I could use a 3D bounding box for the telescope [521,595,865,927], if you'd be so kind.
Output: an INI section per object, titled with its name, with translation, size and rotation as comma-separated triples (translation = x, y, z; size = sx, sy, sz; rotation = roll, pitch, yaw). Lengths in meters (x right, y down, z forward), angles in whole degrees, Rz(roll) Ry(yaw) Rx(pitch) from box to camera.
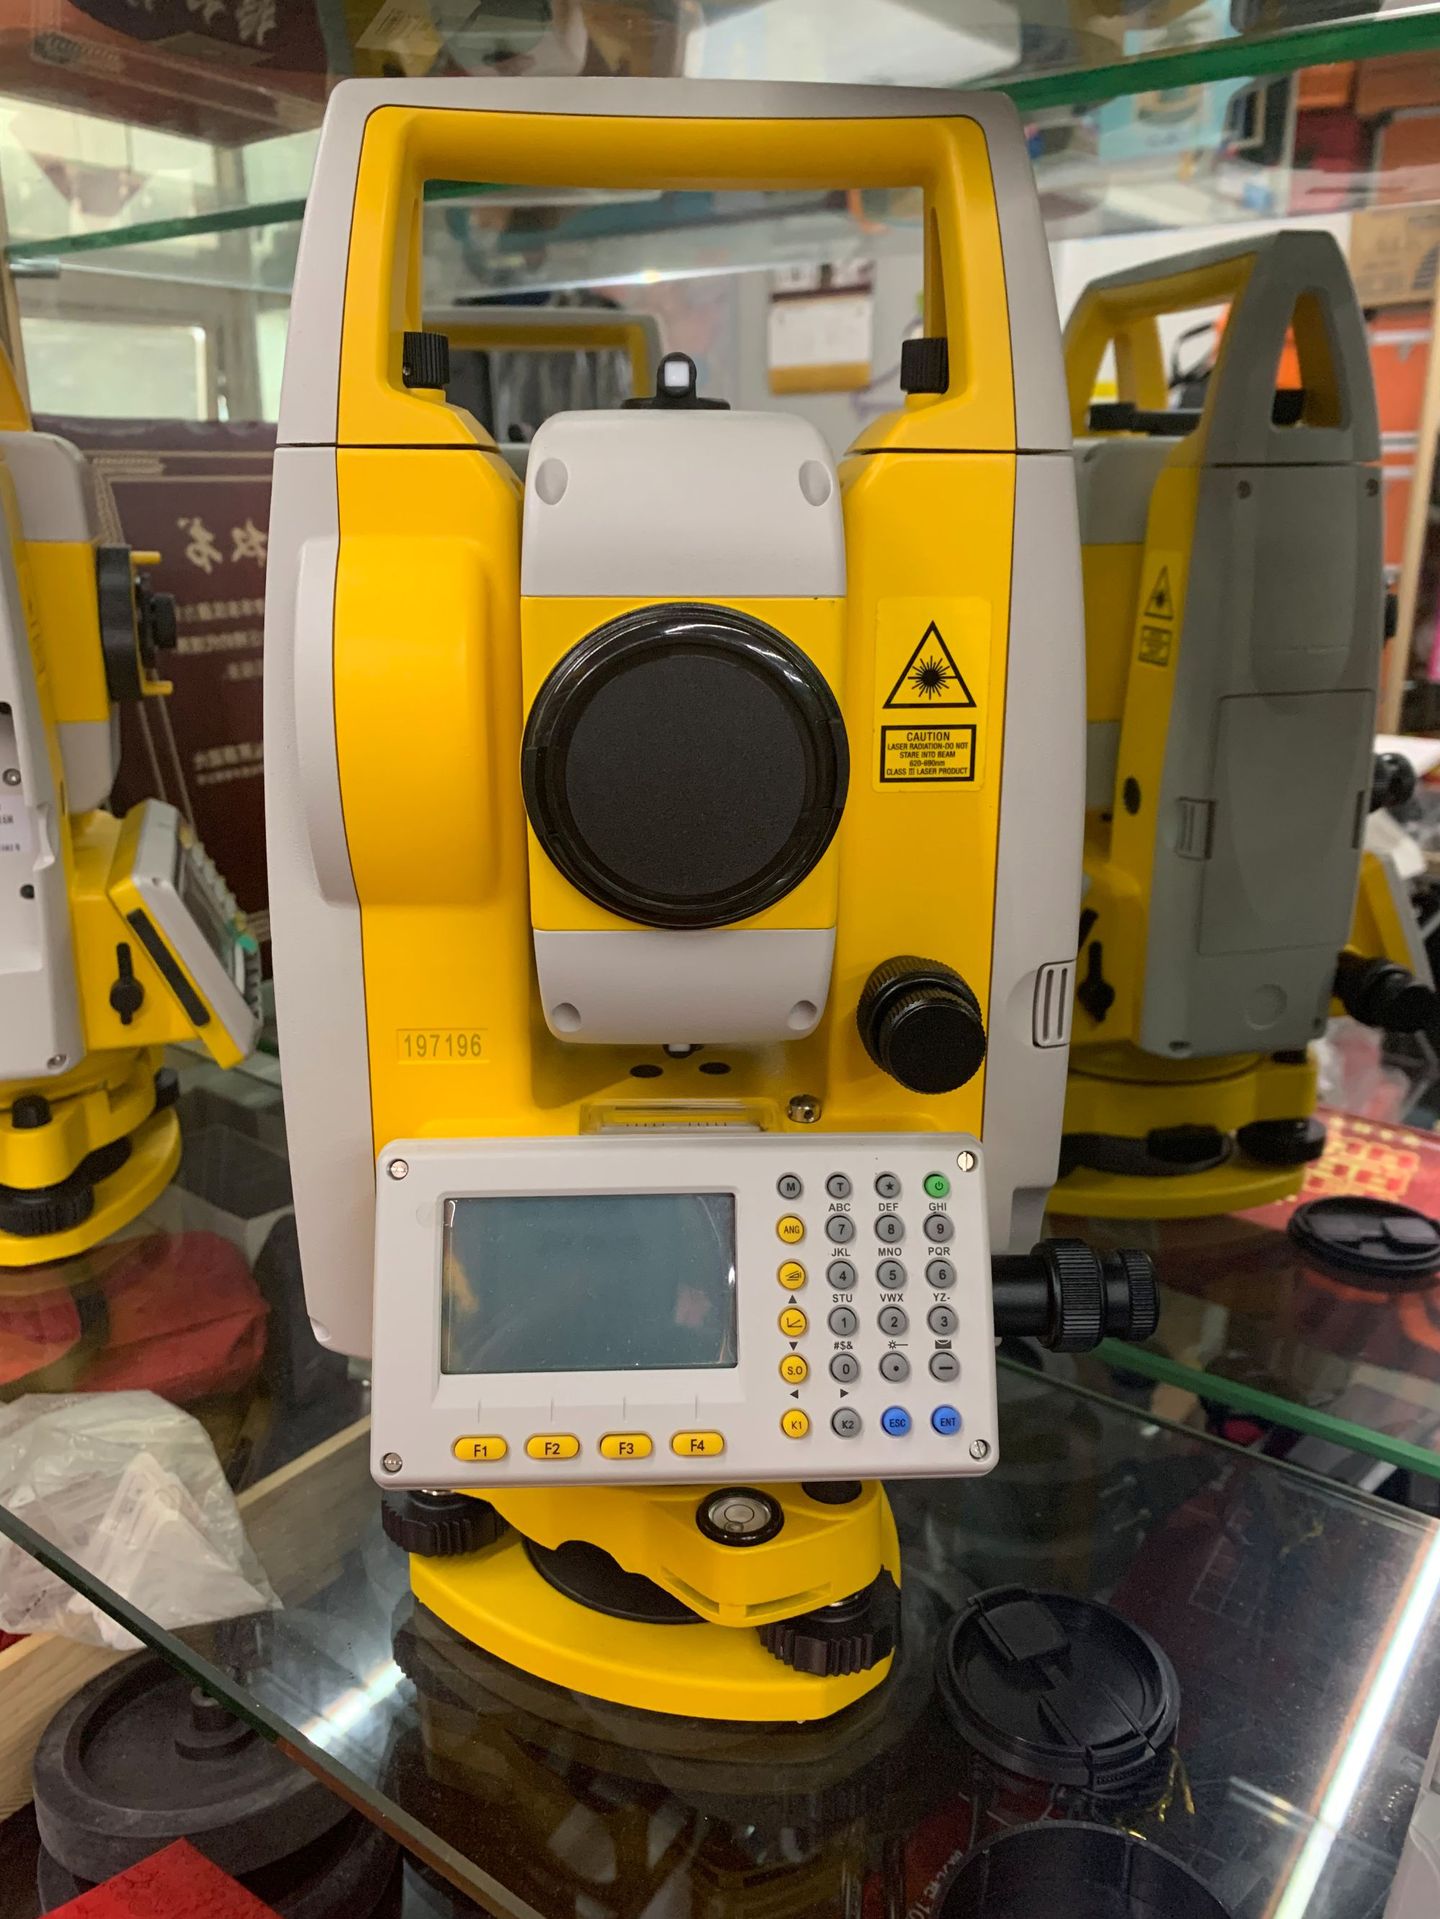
[telescope]
translation = -0.010, -0.063, 0.482
size = 0.100, 0.093, 0.032
rotation = 2, 13, -1
